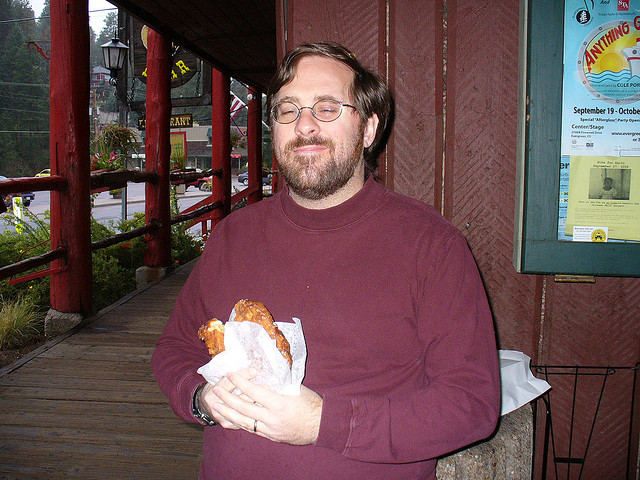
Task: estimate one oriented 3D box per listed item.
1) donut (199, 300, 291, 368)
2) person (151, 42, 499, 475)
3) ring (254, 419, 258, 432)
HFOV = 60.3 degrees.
[{"bbox_3d":[-0.321,0.382,2.262,0.430,0.243,0.116,9,13,23],"label":"donut"},{"bbox_3d":[0.051,0.124,2.397,1.518,1.934,0.887,8,13,21],"label":"person"},{"bbox_3d":[-0.265,0.734,2.179,0.008,0.036,0.030,5,0,-3],"label":"ring"}]
